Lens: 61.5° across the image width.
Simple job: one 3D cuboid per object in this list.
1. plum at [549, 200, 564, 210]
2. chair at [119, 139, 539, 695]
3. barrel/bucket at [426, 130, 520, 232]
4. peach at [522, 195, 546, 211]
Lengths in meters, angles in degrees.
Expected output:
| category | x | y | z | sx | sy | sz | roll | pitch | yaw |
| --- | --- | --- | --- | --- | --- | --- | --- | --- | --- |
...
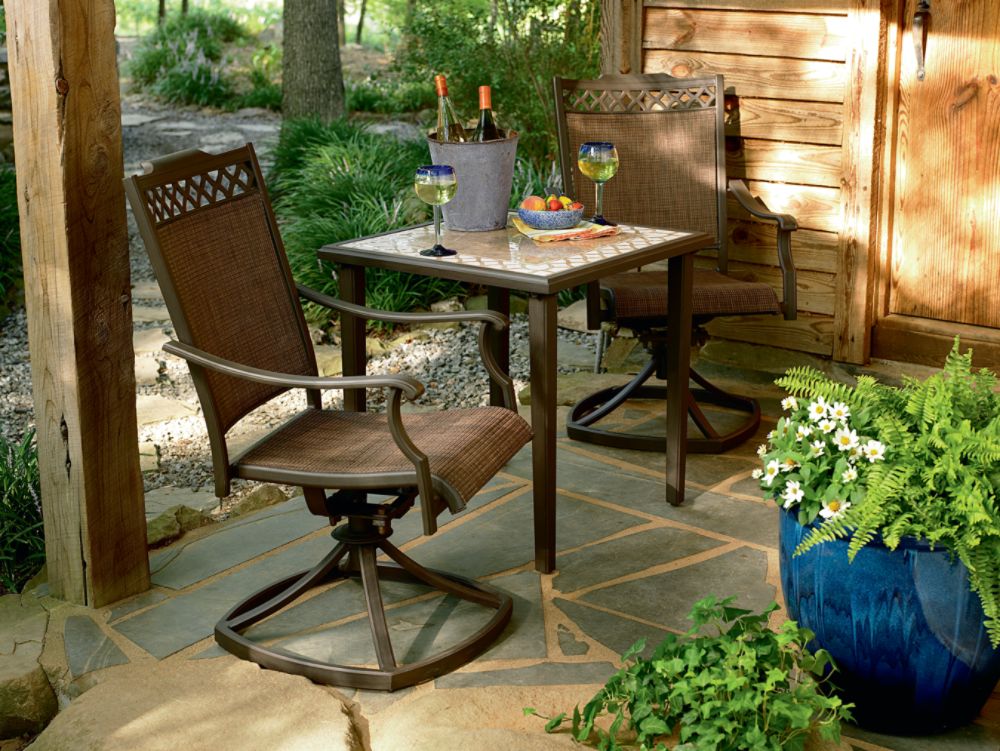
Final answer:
| category | x | y | z | sx | sy | sz | roll | pitch | yaw |
| --- | --- | --- | --- | --- | --- | --- | --- | --- | --- |
| plum | 0.201 | -0.614 | 3.016 | 0.047 | 0.040 | 0.039 | 2 | -12 | 2 |
| chair | -0.488 | 0.051 | 2.398 | 0.913 | 1.427 | 1.067 | -14 | 21 | -29 |
| barrel/bucket | -0.086 | -0.675 | 2.993 | 0.396 | 0.263 | 0.354 | -3 | 17 | -10 |
| peach | 0.120 | -0.617 | 3.031 | 0.083 | 0.055 | 0.066 | -1 | 6 | 6 |
